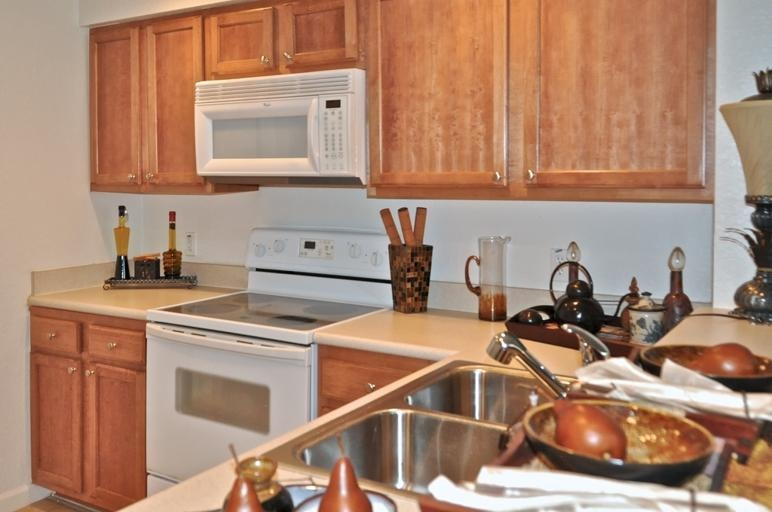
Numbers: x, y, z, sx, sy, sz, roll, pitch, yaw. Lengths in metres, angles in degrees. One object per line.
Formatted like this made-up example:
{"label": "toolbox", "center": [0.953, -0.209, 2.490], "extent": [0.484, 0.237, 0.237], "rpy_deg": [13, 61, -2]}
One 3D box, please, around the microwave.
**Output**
{"label": "microwave", "center": [-0.406, -0.579, 2.917], "extent": [1.012, 0.484, 0.510], "rpy_deg": [6, 8, 33]}

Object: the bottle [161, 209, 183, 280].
{"label": "bottle", "center": [-1.192, -0.069, 3.419], "extent": [0.107, 0.363, 0.291], "rpy_deg": [-3, 5, -20]}

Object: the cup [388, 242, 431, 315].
{"label": "cup", "center": [0.107, 0.101, 2.731], "extent": [0.182, 0.311, 0.118], "rpy_deg": [-2, 5, -1]}

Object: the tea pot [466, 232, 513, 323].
{"label": "tea pot", "center": [0.425, 0.100, 2.592], "extent": [0.182, 0.361, 0.076], "rpy_deg": [-2, 5, 2]}

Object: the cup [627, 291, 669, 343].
{"label": "cup", "center": [0.880, 0.211, 2.097], "extent": [0.113, 0.150, 0.171], "rpy_deg": [-1, 5, 4]}

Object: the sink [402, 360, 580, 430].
{"label": "sink", "center": [0.249, 0.351, 1.542], "extent": [0.297, 0.170, 0.237], "rpy_deg": [3, 3, 45]}

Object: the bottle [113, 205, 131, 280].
{"label": "bottle", "center": [-1.433, -0.078, 3.333], "extent": [0.082, 0.390, 0.247], "rpy_deg": [-4, 5, -23]}

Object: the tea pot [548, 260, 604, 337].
{"label": "tea pot", "center": [0.700, 0.149, 2.191], "extent": [0.252, 0.252, 0.160], "rpy_deg": [-2, 18, 33]}

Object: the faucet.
{"label": "faucet", "center": [0.310, 0.243, 1.395], "extent": [0.156, 0.158, 0.202], "rpy_deg": [-1, 5, 8]}

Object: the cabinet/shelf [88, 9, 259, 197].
{"label": "cabinet/shelf", "center": [-1.116, -0.770, 3.261], "extent": [1.068, 0.903, 0.385], "rpy_deg": [3, 4, 34]}

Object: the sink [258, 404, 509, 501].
{"label": "sink", "center": [0.022, 0.409, 1.400], "extent": [0.275, 0.126, 0.343], "rpy_deg": [4, 5, 39]}

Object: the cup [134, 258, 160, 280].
{"label": "cup", "center": [-1.277, 0.070, 3.304], "extent": [0.110, 0.097, 0.060], "rpy_deg": [4, 6, 23]}

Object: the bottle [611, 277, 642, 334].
{"label": "bottle", "center": [0.904, 0.163, 2.232], "extent": [0.107, 0.166, 0.106], "rpy_deg": [-8, 2, 0]}
